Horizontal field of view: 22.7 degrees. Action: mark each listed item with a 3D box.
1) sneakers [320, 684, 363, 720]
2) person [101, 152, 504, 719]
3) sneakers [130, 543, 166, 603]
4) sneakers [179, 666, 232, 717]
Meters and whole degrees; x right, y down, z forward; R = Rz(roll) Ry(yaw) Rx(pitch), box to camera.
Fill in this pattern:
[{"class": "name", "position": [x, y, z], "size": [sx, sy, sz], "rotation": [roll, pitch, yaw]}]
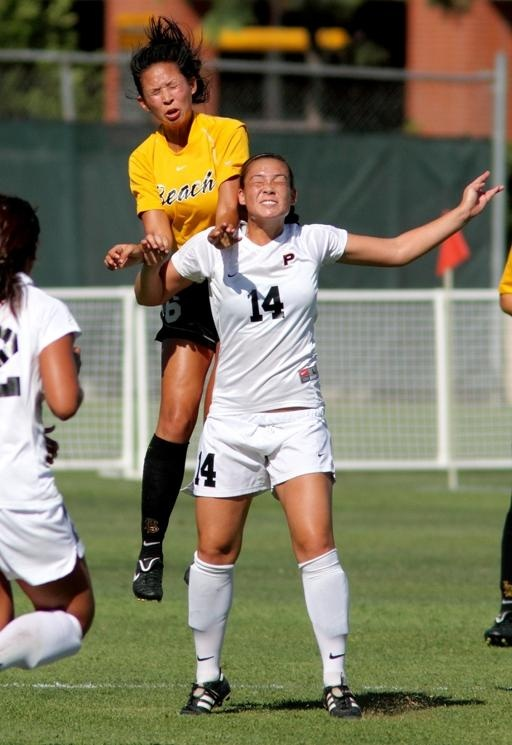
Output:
[{"class": "sneakers", "position": [0.291, 1.094, 4.271], "size": [0.125, 0.115, 0.152], "rotation": [1, 1, 5]}, {"class": "person", "position": [0.105, 0.221, 4.378], "size": [1.046, 1.904, 0.437], "rotation": [1, 1, -5]}, {"class": "sneakers", "position": [-0.424, 0.790, 5.080], "size": [0.097, 0.125, 0.259], "rotation": [4, 42, -9]}, {"class": "sneakers", "position": [-0.171, 1.106, 4.410], "size": [0.088, 0.079, 0.190], "rotation": [-15, 6, 36]}]
